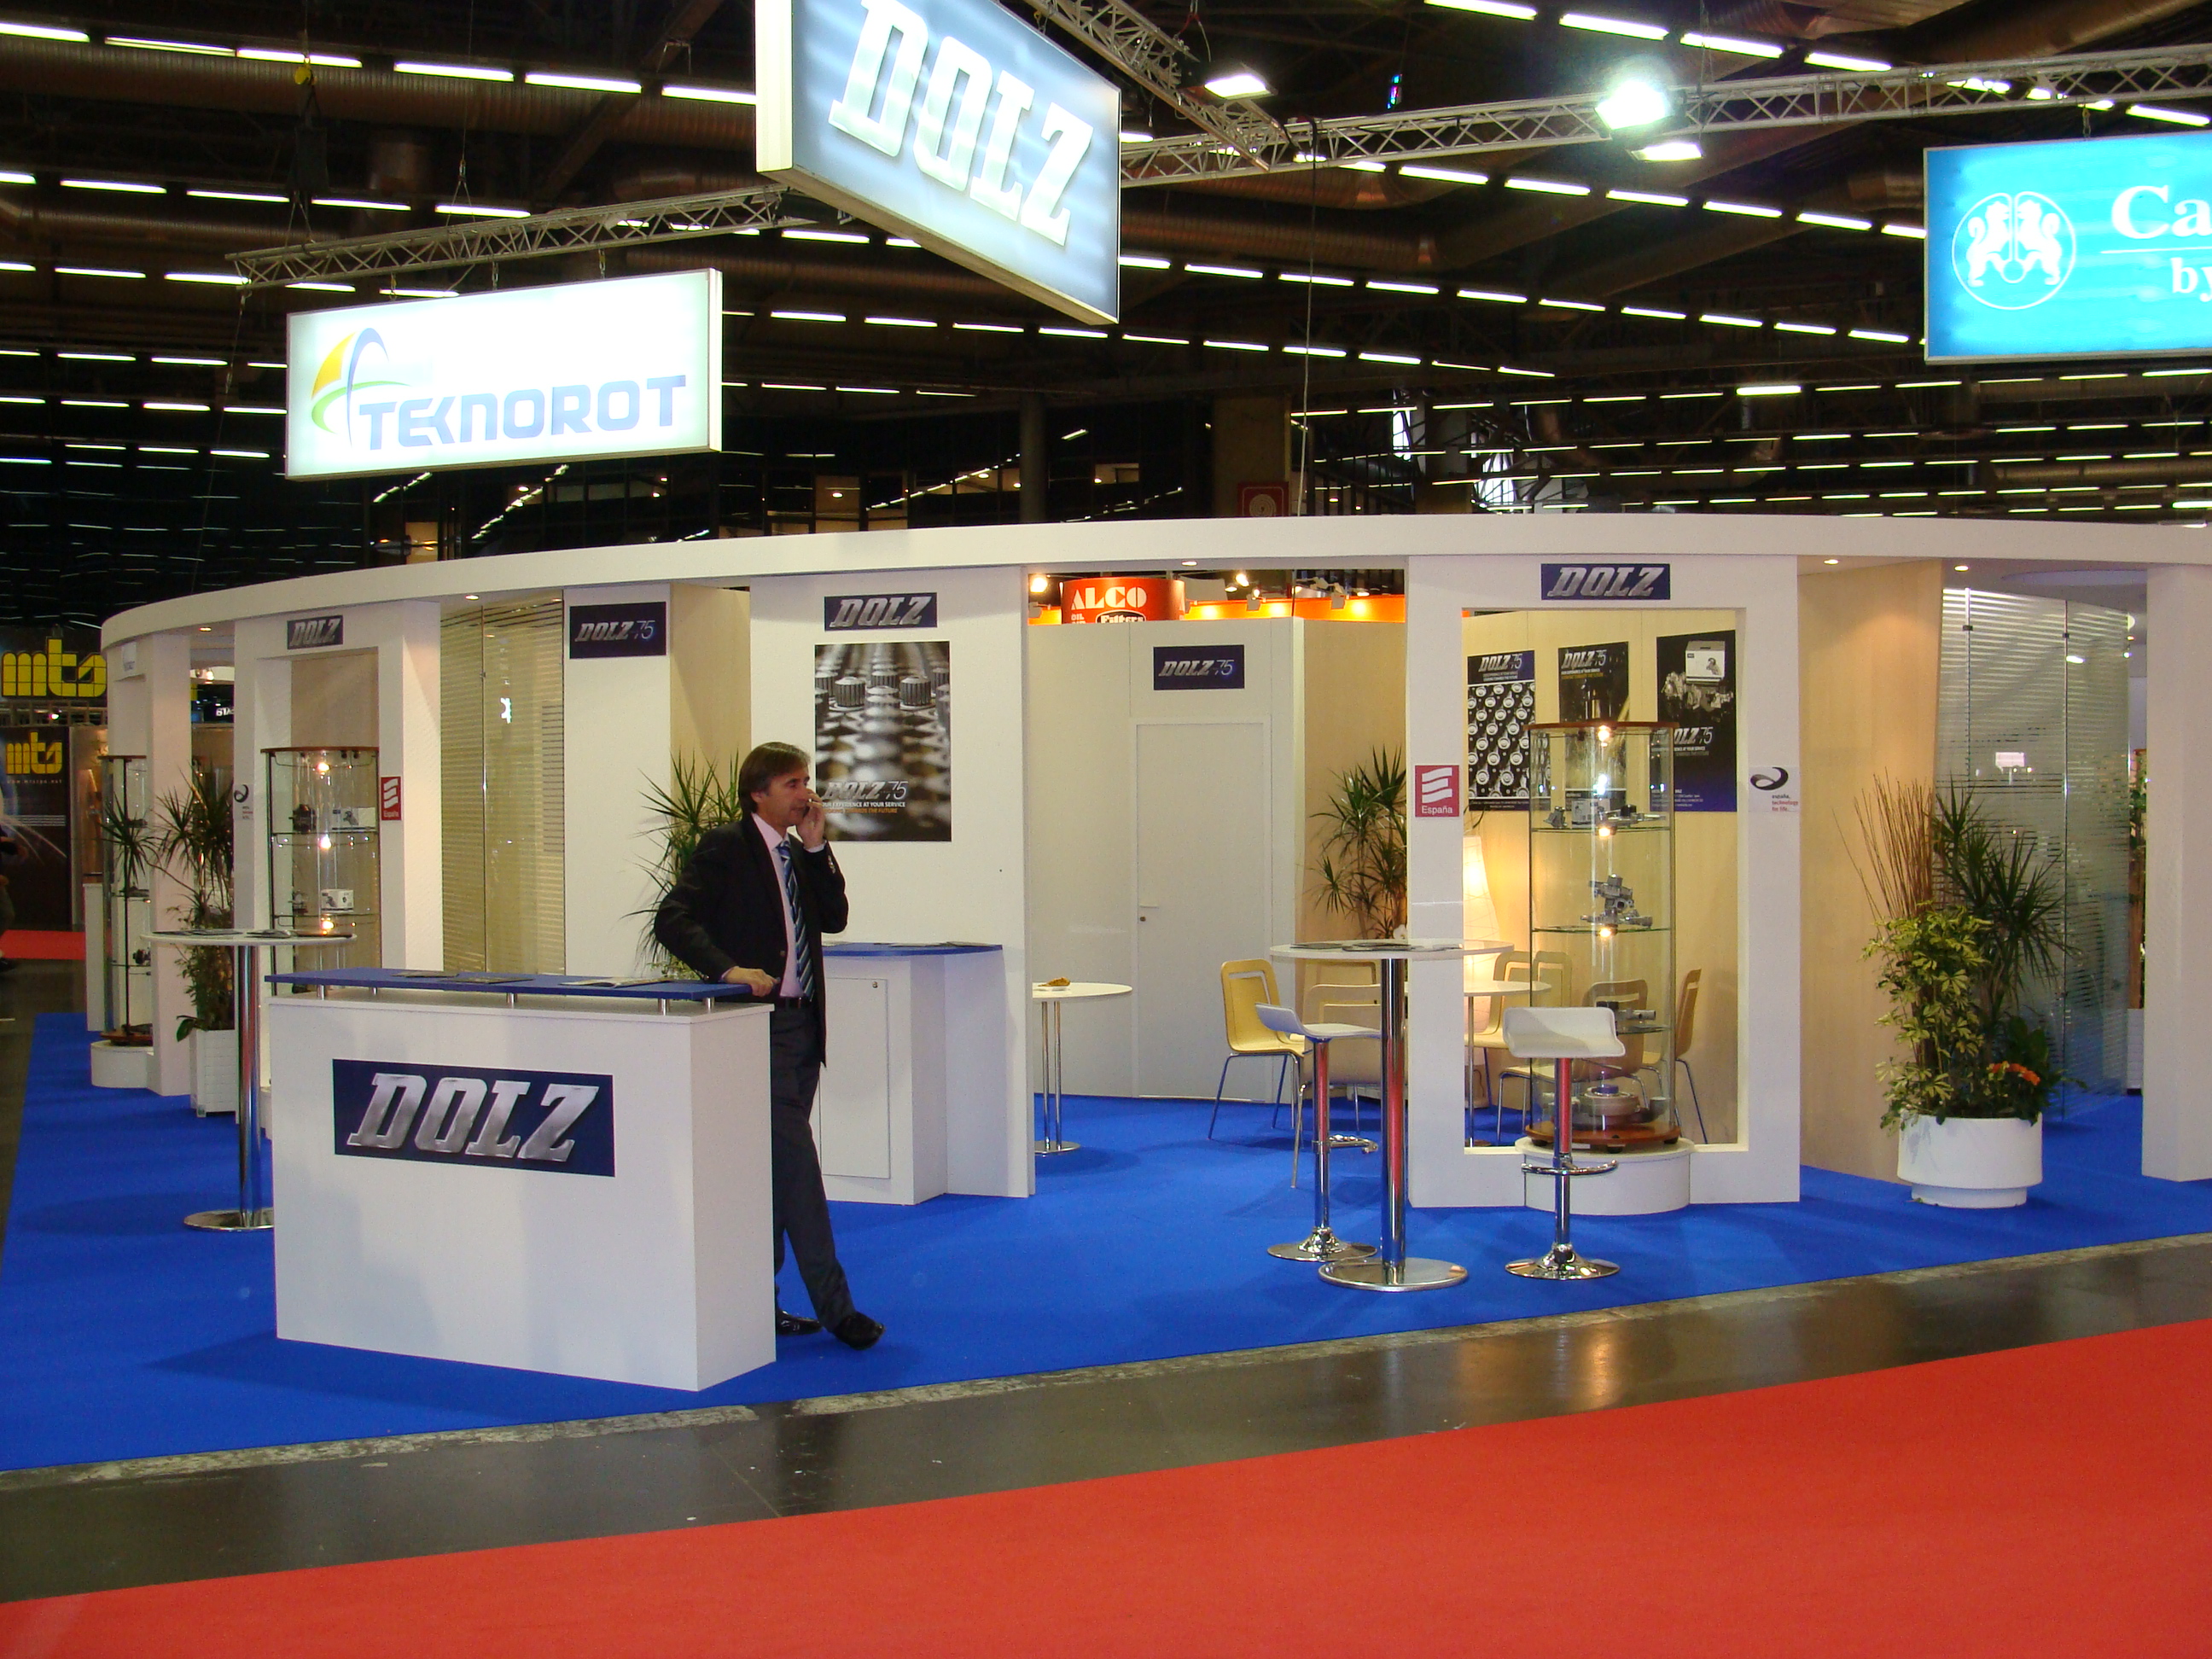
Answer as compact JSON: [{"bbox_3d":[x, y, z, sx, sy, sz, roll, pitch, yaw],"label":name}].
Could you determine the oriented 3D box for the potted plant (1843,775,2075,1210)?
[{"bbox_3d":[3.981,0.753,8.681,0.807,1.890,0.953,2,3,39],"label":"potted plant"}]

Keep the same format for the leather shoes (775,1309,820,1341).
[{"bbox_3d":[-1.100,1.758,6.591,0.191,0.133,0.072,-1,0,-15],"label":"leather shoes"}]

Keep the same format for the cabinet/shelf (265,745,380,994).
[{"bbox_3d":[-4.587,0.278,10.951,0.693,1.493,0.472,1,-3,-24],"label":"cabinet/shelf"}]

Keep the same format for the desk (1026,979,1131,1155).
[{"bbox_3d":[-0.253,1.387,10.493,0.781,0.840,0.792,-5,-7,18],"label":"desk"}]

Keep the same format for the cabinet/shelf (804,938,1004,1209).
[{"bbox_3d":[-1.106,1.063,8.973,1.165,1.125,0.819,1,10,15],"label":"cabinet/shelf"}]

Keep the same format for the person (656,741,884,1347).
[{"bbox_3d":[-1.120,0.778,6.417,0.802,2.093,0.773,2,2,26],"label":"person"}]

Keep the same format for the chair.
[{"bbox_3d":[1.431,1.158,7.548,1.622,1.449,1.120,-2,-2,15],"label":"chair"}]
